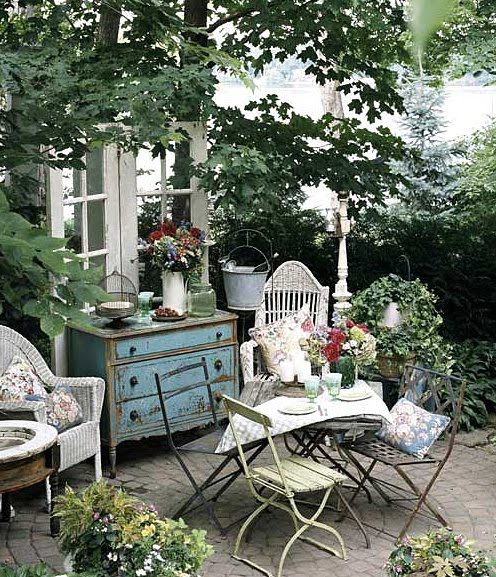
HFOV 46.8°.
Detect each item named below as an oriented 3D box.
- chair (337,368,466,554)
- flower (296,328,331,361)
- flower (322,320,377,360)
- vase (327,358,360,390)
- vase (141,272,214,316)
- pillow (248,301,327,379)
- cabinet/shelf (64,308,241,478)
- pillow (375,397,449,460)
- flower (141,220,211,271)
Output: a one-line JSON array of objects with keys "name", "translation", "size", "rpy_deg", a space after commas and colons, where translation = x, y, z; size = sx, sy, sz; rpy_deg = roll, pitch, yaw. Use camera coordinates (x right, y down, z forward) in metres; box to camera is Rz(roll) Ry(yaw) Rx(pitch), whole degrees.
[{"name": "chair", "translation": [1.035, 1.173, 4.094], "size": [1.000, 0.996, 0.902], "rpy_deg": [-2, 1, 2]}, {"name": "flower", "translation": [0.510, 0.401, 4.280], "size": [0.256, 0.193, 0.269], "rpy_deg": [8, 14, -6]}, {"name": "flower", "translation": [0.719, 0.380, 4.211], "size": [0.381, 0.222, 0.283], "rpy_deg": [5, 13, -21]}, {"name": "vase", "translation": [0.720, 0.618, 4.198], "size": [0.237, 0.213, 0.226], "rpy_deg": [-1, 1, 2]}, {"name": "vase", "translation": [-0.674, 0.047, 5.430], "size": [0.863, 0.397, 0.245], "rpy_deg": [3, 8, 19]}, {"name": "pillow", "translation": [0.426, 0.464, 5.398], "size": [0.601, 0.543, 0.192], "rpy_deg": [-12, -5, -42]}, {"name": "cabinet/shelf", "translation": [-0.926, 0.886, 5.318], "size": [0.859, 1.239, 1.593], "rpy_deg": [5, 6, 41]}, {"name": "pillow", "translation": [1.160, 0.972, 3.959], "size": [0.460, 0.392, 0.135], "rpy_deg": [29, -16, 49]}, {"name": "flower", "translation": [-0.687, -0.421, 5.468], "size": [0.574, 0.411, 0.536], "rpy_deg": [7, 14, 15]}]
